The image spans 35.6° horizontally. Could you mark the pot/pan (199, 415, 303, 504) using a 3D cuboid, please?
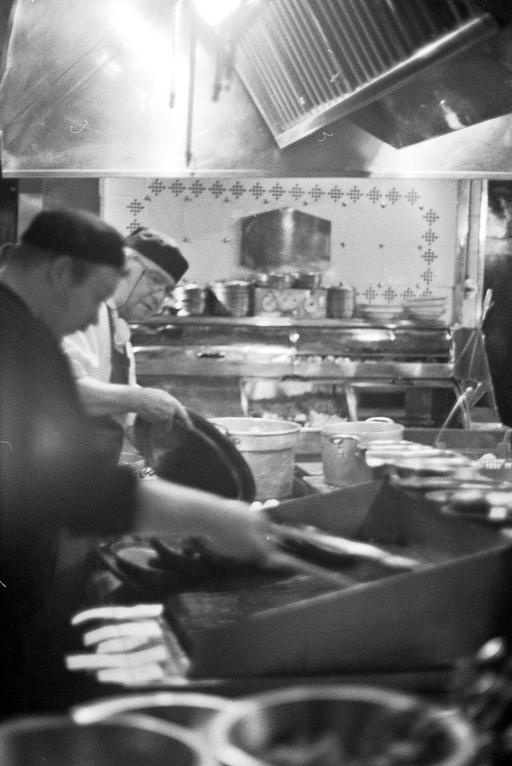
[{"bbox_3d":[-0.012,0.121,1.257,0.127,0.098,0.142,-1,-2,36],"label":"pot/pan"}]

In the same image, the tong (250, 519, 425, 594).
[{"bbox_3d":[0.099,0.193,0.941,0.142,0.046,0.172,-2,7,-34],"label":"tong"}]

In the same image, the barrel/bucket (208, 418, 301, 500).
[{"bbox_3d":[-0.008,0.115,1.265,0.140,0.096,0.128,1,-1,0],"label":"barrel/bucket"}]

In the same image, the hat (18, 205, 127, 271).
[{"bbox_3d":[-0.220,-0.174,0.955,0.106,0.072,0.101,16,-14,-4],"label":"hat"}]

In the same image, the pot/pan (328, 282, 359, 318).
[{"bbox_3d":[0.213,-0.214,2.050,0.087,0.086,0.083,0,3,-2],"label":"pot/pan"}]

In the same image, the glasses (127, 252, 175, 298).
[{"bbox_3d":[-0.195,-0.177,1.347,0.063,0.057,0.077,1,43,-47],"label":"glasses"}]
